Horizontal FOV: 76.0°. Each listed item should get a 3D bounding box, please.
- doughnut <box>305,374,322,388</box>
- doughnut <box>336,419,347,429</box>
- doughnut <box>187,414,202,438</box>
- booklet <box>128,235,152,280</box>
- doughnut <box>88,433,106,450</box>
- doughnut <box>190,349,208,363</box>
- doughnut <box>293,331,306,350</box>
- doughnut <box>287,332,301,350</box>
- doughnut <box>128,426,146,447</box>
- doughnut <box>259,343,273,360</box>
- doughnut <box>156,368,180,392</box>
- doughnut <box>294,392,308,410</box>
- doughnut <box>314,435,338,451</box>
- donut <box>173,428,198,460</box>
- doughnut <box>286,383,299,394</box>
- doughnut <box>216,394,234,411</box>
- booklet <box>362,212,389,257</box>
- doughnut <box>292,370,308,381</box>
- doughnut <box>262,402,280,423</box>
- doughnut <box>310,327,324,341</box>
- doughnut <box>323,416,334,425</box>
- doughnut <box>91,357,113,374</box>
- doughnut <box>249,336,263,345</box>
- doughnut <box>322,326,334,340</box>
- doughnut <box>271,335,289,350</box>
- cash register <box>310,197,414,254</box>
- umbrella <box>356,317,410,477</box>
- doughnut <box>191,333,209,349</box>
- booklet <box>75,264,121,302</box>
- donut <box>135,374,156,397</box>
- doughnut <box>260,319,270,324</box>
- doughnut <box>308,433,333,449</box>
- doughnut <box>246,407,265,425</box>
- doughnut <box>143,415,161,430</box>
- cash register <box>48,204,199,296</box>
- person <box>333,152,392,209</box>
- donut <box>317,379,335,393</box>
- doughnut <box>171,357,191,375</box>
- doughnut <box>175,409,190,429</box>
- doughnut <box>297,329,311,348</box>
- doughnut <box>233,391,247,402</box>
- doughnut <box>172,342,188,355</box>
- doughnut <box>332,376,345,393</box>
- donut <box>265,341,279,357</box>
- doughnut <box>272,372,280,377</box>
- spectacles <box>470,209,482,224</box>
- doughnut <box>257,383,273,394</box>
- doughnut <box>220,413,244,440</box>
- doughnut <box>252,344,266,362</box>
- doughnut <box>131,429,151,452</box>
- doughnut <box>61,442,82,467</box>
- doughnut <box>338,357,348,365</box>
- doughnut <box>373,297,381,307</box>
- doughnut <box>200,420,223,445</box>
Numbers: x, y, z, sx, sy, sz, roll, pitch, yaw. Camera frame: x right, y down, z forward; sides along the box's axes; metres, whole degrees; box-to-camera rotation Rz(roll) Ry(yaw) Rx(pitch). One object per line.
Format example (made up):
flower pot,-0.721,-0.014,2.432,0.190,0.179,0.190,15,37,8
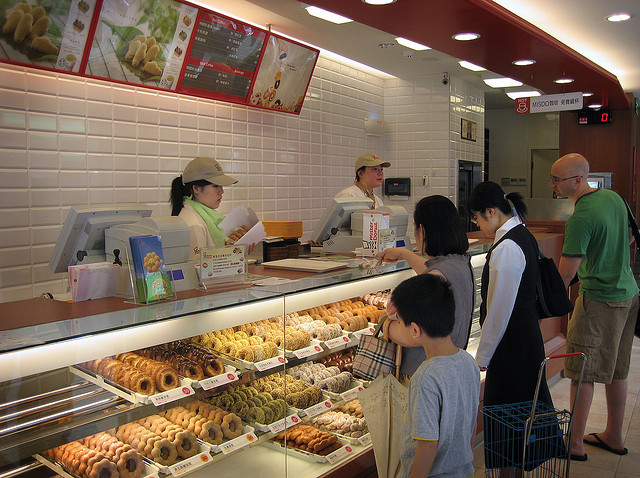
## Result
doughnut,-0.038,0.818,2.389,0.096,0.058,0.044,-2,6,-32
doughnut,0.135,1.114,2.477,0.037,0.034,0.061,6,7,43
doughnut,-0.549,0.842,1.831,0.024,0.066,0.064,-1,-21,20
booklet,-0.805,0.073,1.844,0.099,0.183,0.174,-1,6,-25
doughnut,-0.877,0.795,1.618,0.058,0.044,0.034,-3,7,-38
doughnut,-0.539,0.511,1.818,0.044,0.043,0.011,5,-16,25
doughnut,-0.115,0.552,2.241,0.034,0.083,0.072,22,-36,-38
doughnut,-0.133,0.543,2.206,0.027,0.089,0.074,5,6,35
doughnut,-0.754,0.813,1.686,0.072,0.073,0.029,5,-9,-42
doughnut,-0.269,0.557,2.041,0.022,0.066,0.066,-6,-4,-15
doughnut,-0.632,0.579,1.704,0.082,0.083,0.030,3,-4,-44
doughnut,-0.096,0.886,2.267,0.032,0.080,0.079,-16,1,-7
doughnut,0.040,1.145,2.317,0.169,0.053,0.031,-3,7,-41
donut,-0.580,0.885,1.783,0.108,0.113,0.043,-2,6,-36
doughnut,-0.149,0.820,2.271,0.067,0.047,0.042,1,5,-6
doughnut,-0.452,0.782,1.969,0.086,0.072,0.024,-2,6,-35
booklet,0.413,-0.030,3.009,0.185,0.326,0.210,1,8,27
doughnut,-0.111,0.785,2.373,0.087,0.056,0.022,-1,6,-25
doughnut,-0.245,0.885,2.113,0.083,0.103,0.022,-2,6,-36
doughnut,-0.016,0.546,2.371,0.079,0.072,0.044,2,5,1
doughnut,0.052,1.093,2.485,0.071,0.032,0.039,0,5,-15
doughnut,-0.822,0.468,1.551,0.017,0.058,0.088,3,5,13
doughnut,-0.313,0.500,2.042,0.070,0.035,0.042,-1,6,-26
doughnut,0.051,0.549,2.407,0.026,0.072,0.055,-2,10,-18
doughnut,-0.204,0.527,2.124,0.071,0.072,0.024,5,10,27
cash register,0.380,-0.122,3.323,0.756,0.445,0.597,3,2,23
umbrella,0.299,0.895,1.968,0.239,0.511,0.138,3,5,18
doughnut,-0.545,0.467,1.876,0.034,0.054,0.097,5,7,37
booklet,-0.988,0.190,1.812,0.146,0.136,0.056,-2,24,-37
donut,-0.698,0.585,1.648,0.038,0.082,0.072,4,6,24
doughnut,-0.276,0.413,2.082,0.041,0.028,0.043,1,5,-7
doughnut,-0.006,1.127,2.302,0.144,0.036,0.042,-24,53,-18
doughnut,-0.321,0.882,2.049,0.092,0.085,0.024,0,5,-14
doughnut,-0.716,0.773,1.748,0.024,0.048,0.066,5,6,33
cash register,-0.962,-0.028,2.048,0.569,0.371,0.467,6,6,30
person,0.451,-0.570,4.200,0.560,0.668,0.708,7,14,30
donut,0.040,0.846,2.438,0.070,0.077,0.081,15,6,28
doughnut,-0.595,0.542,1.758,0.054,0.059,0.017,4,2,-42
doughnut,-0.611,0.793,1.824,0.018,0.054,0.054,5,1,20
doughnut,-0.083,0.552,2.286,0.068,0.079,0.031,-4,-5,-29
doughnut,-0.391,0.767,2.011,0.011,0.046,0.045,-38,6,-33
doughnut,-0.608,0.468,1.785,0.021,0.038,0.070,5,6,31
doughnut,0.110,0.869,2.455,0.033,0.083,0.074,-2,14,-11
donut,-0.229,0.547,2.089,0.056,0.071,0.072,1,32,13
doughnut,-0.232,0.704,2.141,0.052,0.012,0.052,-4,-15,-18
spectacles,1.012,-0.156,2.655,0.027,0.108,0.108,-14,12,-36
doughnut,-0.285,0.768,2.113,0.061,0.062,0.020,3,-6,-17
doughnut,-0.421,0.889,1.958,0.108,0.109,0.039,-1,6,-25
doughnut,-0.299,0.558,2.001,0.026,0.069,0.052,0,-3,-34
doughnut,-0.735,0.828,1.677,0.057,0.058,0.024,11,-13,-28
doughnut,-0.955,0.816,1.568,0.072,0.074,0.023,-1,-3,-17
doughnut,0.153,0.769,2.595,0.046,0.045,0.012,10,-27,-43
doughnut,0.387,0.419,2.783,0.016,0.048,0.048,11,-7,-16
doughnut,-0.498,0.884,1.880,0.037,0.101,0.101,-13,-23,14
